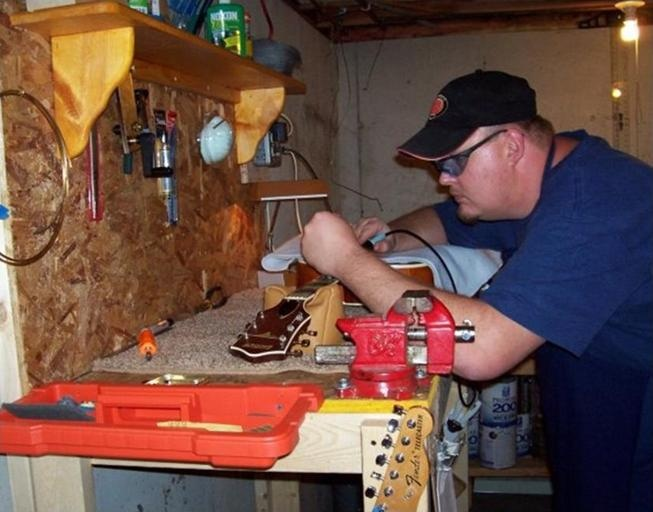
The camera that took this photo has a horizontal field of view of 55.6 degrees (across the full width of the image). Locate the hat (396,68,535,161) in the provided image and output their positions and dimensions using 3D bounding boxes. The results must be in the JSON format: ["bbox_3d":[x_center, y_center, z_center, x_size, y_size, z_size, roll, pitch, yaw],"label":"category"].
[{"bbox_3d":[0.338,-0.337,1.502,0.312,0.161,0.188,-11,13,-9],"label":"hat"}]

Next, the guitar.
[{"bbox_3d":[-0.021,0.140,1.530,0.227,0.118,0.407,6,29,40],"label":"guitar"}]

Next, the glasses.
[{"bbox_3d":[0.345,-0.257,1.506,0.122,0.031,0.116,-37,8,-18],"label":"glasses"}]

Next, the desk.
[{"bbox_3d":[-0.167,0.297,1.265,0.884,0.459,0.408,1,-3,12],"label":"desk"}]

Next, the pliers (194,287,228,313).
[{"bbox_3d":[-0.376,0.141,1.993,0.061,0.017,0.116,1,13,7],"label":"pliers"}]
